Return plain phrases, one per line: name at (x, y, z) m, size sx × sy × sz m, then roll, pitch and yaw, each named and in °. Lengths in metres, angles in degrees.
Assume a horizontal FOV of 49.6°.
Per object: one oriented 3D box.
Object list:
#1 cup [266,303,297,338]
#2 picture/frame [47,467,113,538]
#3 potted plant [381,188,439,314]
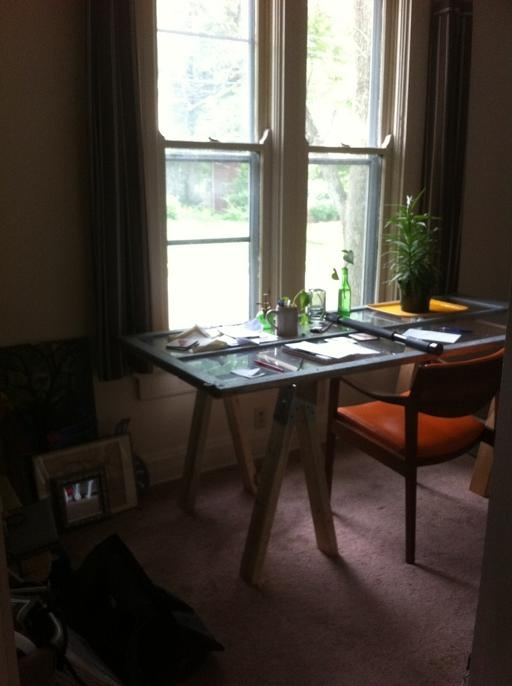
cup at (0.108, -0.097, 2.211) m, size 0.138 × 0.158 × 0.094 m, roll -7°, pitch 13°, yaw -14°
picture/frame at (-0.694, 0.615, 2.143) m, size 0.195 × 0.245 × 0.025 m, roll -18°, pitch 24°, yaw -38°
potted plant at (0.787, -0.487, 2.859) m, size 0.289 × 0.576 × 0.621 m, roll 4°, pitch 12°, yaw 17°
